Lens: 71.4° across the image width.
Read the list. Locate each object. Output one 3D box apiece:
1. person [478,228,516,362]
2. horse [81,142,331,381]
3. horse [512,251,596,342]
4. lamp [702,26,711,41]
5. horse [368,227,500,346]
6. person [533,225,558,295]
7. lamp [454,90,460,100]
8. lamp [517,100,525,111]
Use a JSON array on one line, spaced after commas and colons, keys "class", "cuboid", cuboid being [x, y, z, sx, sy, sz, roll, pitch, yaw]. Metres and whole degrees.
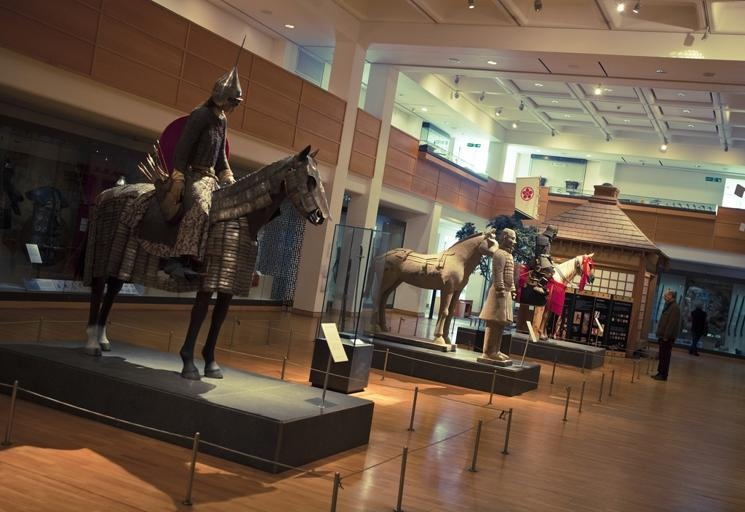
[{"class": "person", "cuboid": [2.246, 0.692, 9.065, 0.671, 2.293, 0.626, 9, 0, 14]}, {"class": "horse", "cuboid": [-1.712, 0.065, 5.179, 2.649, 2.148, 0.699, 3, -4, 14]}, {"class": "horse", "cuboid": [4.315, 0.861, 13.515, 2.990, 2.273, 0.754, 8, 7, -15]}, {"class": "lamp", "cuboid": [7.184, -4.799, 11.172, 0.097, 0.242, 0.072, 15, 9, -18]}, {"class": "horse", "cuboid": [1.121, 0.527, 9.852, 2.447, 2.248, 0.701, 4, -9, 24]}, {"class": "person", "cuboid": [4.287, 0.097, 12.931, 0.471, 1.690, 0.495, 9, 0, -7]}, {"class": "lamp", "cuboid": [3.232, -6.154, 19.776, 0.077, 0.272, 0.290, 8, 2, 24]}, {"class": "lamp", "cuboid": [5.824, -5.893, 20.278, 0.257, 0.441, 0.337, -5, 9, -41]}]
